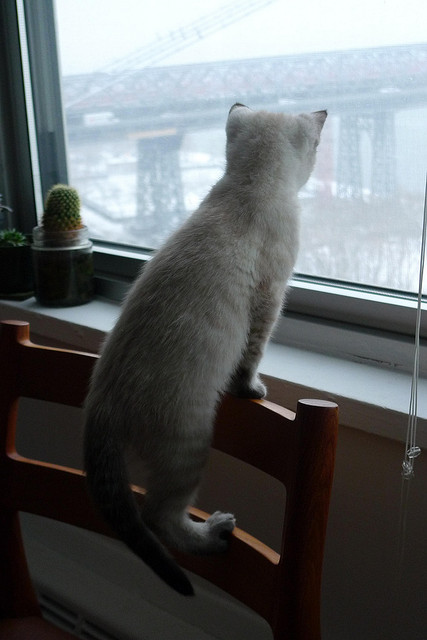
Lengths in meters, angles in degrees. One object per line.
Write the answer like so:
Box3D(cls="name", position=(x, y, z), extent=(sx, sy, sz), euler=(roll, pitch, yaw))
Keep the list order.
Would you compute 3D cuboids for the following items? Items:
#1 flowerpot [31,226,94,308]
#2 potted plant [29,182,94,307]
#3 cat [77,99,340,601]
Box3D(cls="flowerpot", position=(-0.279, -0.105, 0.973), extent=(0.106, 0.143, 0.107), euler=(-6, 17, -18))
Box3D(cls="potted plant", position=(-0.282, -0.141, 0.959), extent=(0.111, 0.221, 0.104), euler=(-14, 28, -33))
Box3D(cls="cat", position=(-0.024, 0.001, 0.589), extent=(0.215, 0.492, 0.283), euler=(7, 17, 22))
